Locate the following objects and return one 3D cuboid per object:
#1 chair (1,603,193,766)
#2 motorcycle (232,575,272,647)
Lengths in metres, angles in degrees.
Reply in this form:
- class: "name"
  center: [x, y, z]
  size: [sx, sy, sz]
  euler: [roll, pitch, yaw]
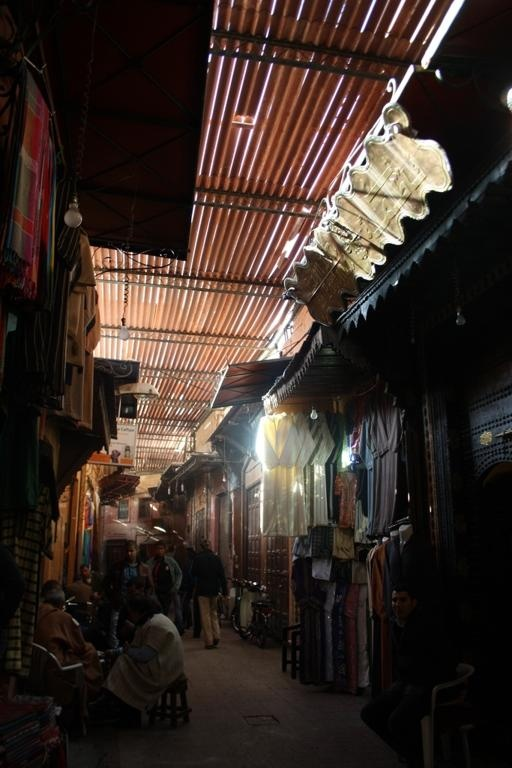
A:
- class: "chair"
  center: [-1.209, 2.337, 4.406]
  size: [1.284, 0.556, 0.927]
  euler: [2, -9, -37]
- class: "motorcycle"
  center: [-0.060, 4.402, 10.837]
  size: [0.565, 1.072, 1.628]
  euler: [10, -15, -16]
